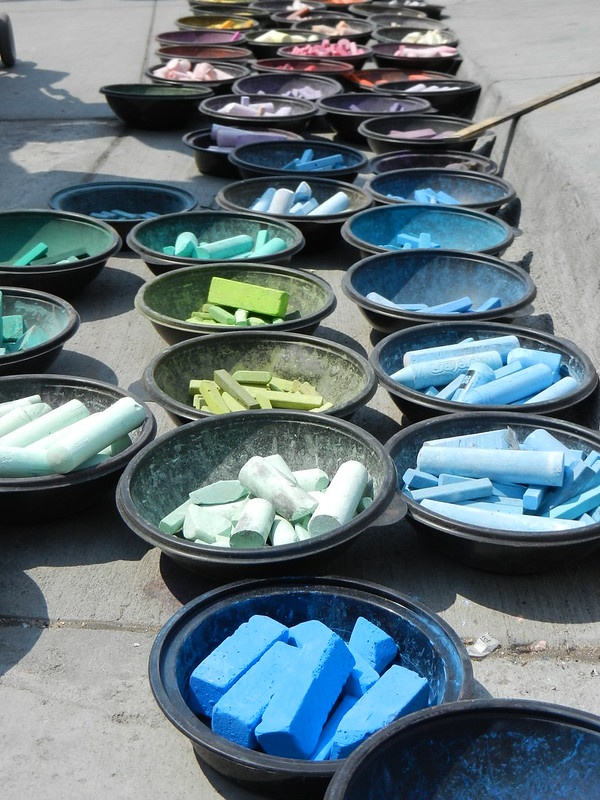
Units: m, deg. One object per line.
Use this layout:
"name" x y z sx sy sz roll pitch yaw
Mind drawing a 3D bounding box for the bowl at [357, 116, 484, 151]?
"bowl" 0.827 -1.895 5.335 0.820 0.259 0.883 0 22 0

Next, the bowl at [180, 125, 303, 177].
"bowl" -0.547 -1.830 5.387 0.675 0.202 0.625 3 33 -2

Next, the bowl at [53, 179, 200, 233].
"bowl" -1.060 -1.205 4.499 0.649 0.139 0.520 2 32 -7

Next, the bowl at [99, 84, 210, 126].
"bowl" -1.240 -2.482 6.322 0.658 0.195 0.566 3 28 5

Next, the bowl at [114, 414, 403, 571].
"bowl" -0.230 0.210 2.107 0.665 0.178 0.559 13 28 24
